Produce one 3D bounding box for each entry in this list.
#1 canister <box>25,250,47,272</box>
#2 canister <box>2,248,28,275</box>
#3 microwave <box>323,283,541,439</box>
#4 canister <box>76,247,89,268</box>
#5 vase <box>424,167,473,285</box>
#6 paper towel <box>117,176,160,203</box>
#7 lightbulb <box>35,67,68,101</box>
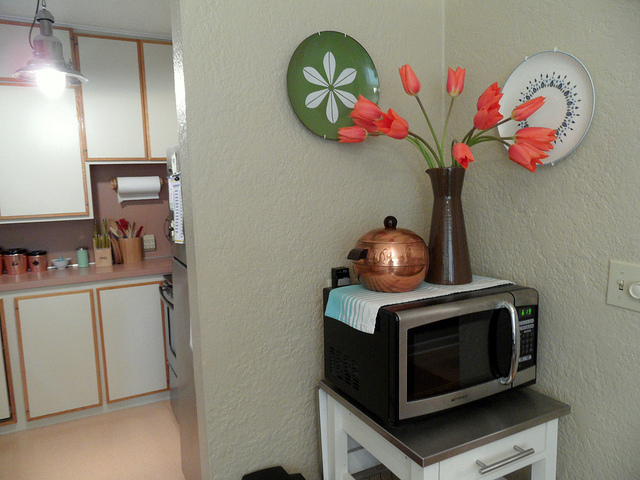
[{"bbox_3d":[-2.023,0.150,3.635,0.117,0.142,0.169,-6,12,-20],"label":"canister"},{"bbox_3d":[-2.084,0.150,3.483,0.156,0.170,0.155,-1,0,-31],"label":"canister"},{"bbox_3d":[0.458,0.386,1.949,0.704,0.436,0.501,-5,8,-31],"label":"microwave"},{"bbox_3d":[-1.771,0.123,3.795,0.076,0.137,0.166,-7,12,-25],"label":"canister"},{"bbox_3d":[0.481,-0.061,1.979,0.187,0.427,0.215,-3,5,-25],"label":"vase"},{"bbox_3d":[-1.402,-0.391,3.930,0.308,0.200,0.221,-6,12,-23],"label":"paper towel"},{"bbox_3d":[-1.468,-0.845,2.783,0.148,0.155,0.149,0,9,-18],"label":"lightbulb"}]
